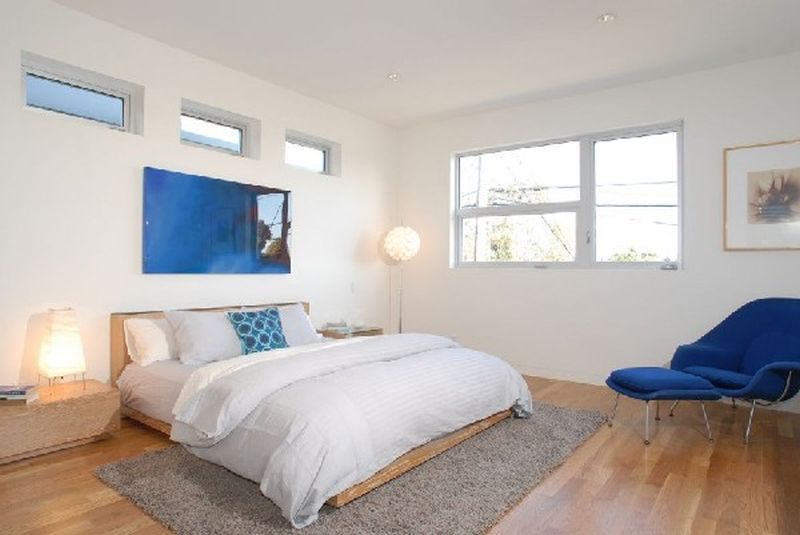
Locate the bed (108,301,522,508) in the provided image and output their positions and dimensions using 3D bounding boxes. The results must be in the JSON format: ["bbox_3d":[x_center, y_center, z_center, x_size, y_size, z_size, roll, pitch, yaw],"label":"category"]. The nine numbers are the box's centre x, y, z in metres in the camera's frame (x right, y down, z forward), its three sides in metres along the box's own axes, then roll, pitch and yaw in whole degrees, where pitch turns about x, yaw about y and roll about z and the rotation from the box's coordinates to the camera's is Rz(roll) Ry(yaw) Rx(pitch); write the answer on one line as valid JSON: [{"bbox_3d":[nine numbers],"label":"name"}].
[{"bbox_3d":[-0.772,1.274,4.075,1.922,0.647,1.908,3,2,39],"label":"bed"}]

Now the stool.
[{"bbox_3d":[2.239,1.100,4.288,0.776,0.539,0.649,0,-5,-7],"label":"stool"}]
